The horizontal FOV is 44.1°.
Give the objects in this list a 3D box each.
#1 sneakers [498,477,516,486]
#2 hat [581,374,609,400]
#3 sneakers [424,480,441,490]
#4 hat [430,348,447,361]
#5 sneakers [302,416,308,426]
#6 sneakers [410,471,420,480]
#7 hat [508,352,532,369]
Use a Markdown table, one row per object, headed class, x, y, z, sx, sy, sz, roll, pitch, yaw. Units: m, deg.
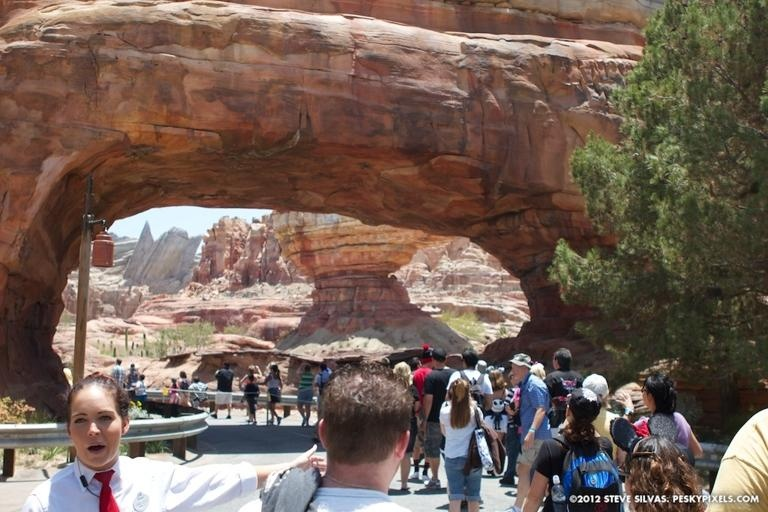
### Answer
| class | x | y | z | sx | sy | sz | roll | pitch | yaw |
| --- | --- | --- | --- | --- | --- | --- | --- | --- | --- |
| sneakers | 2.468 | 4.588 | 19.216 | 0.249 | 0.157 | 0.140 | 6 | -10 | 9 |
| hat | 3.644 | 2.298 | 16.393 | 0.431 | 0.358 | 0.608 | 14 | 11 | 30 |
| sneakers | 0.940 | 4.546 | 18.787 | 0.312 | 0.148 | 0.140 | 0 | -7 | 24 |
| hat | 1.030 | 1.909 | 18.228 | 0.197 | 0.250 | 0.254 | 5 | 16 | 0 |
| sneakers | -2.243 | 4.707 | 26.702 | 0.113 | 0.138 | 0.327 | 3 | -45 | -3 |
| sneakers | 0.621 | 4.582 | 19.704 | 0.096 | 0.098 | 0.255 | 5 | -10 | -14 |
| hat | 2.563 | 1.913 | 17.717 | 0.472 | 0.237 | 0.343 | 14 | -13 | -18 |
